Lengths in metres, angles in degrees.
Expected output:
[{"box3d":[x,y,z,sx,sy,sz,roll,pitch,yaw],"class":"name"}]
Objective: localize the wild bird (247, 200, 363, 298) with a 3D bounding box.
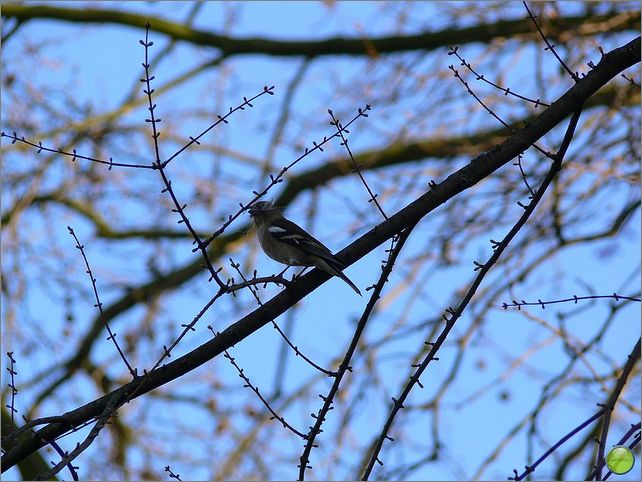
[{"box3d":[-0.304,-0.004,13.257,1.053,2.588,0.663,-12,-69,2],"class":"wild bird"}]
